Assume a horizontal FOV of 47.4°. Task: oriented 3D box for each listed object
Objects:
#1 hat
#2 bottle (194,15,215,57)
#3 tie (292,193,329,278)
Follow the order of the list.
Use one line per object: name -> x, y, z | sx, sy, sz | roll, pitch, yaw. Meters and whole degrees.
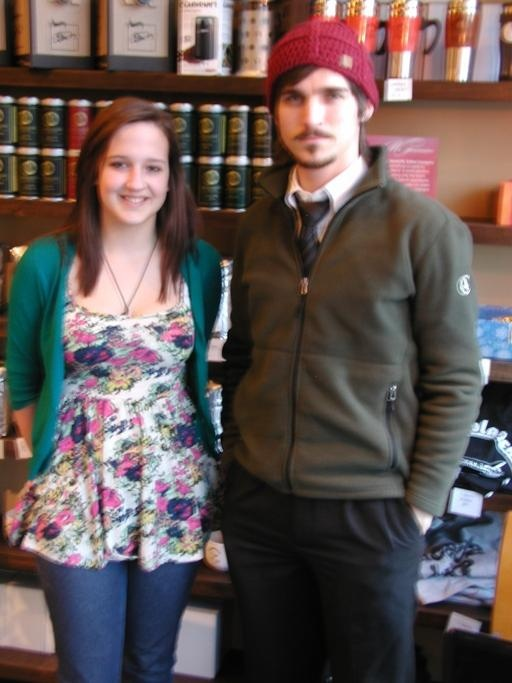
hat -> 0.114, -0.503, 1.086 | 0.203, 0.132, 0.210 | 2, 0, 7
bottle -> -0.140, -0.826, 1.596 | 0.056, 0.109, 0.018 | 1, 11, -2
tie -> 0.105, -0.191, 1.077 | 0.100, 0.125, 0.034 | 1, -4, 23
